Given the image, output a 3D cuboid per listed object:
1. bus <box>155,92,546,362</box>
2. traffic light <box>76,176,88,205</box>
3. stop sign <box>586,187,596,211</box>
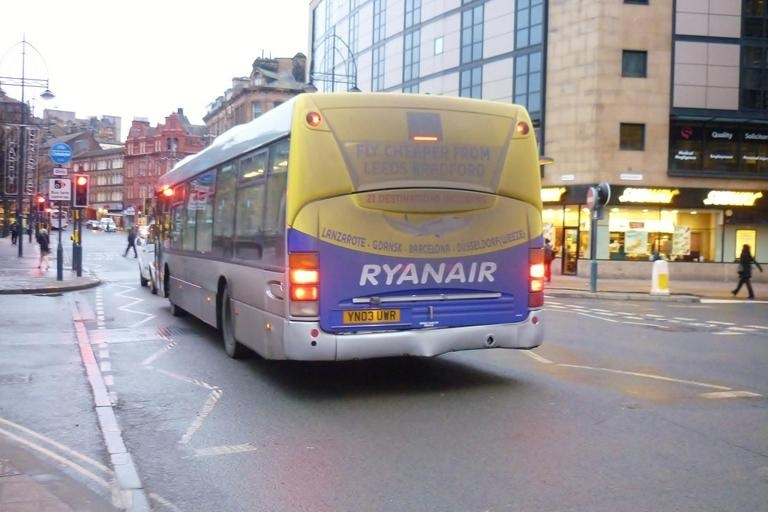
[{"bbox_3d":[-1.131,-0.279,10.228,6.305,4.145,2.887,4,5,40],"label":"bus"},{"bbox_3d":[-11.720,-2.497,25.126,0.445,1.196,0.493,-1,4,-27],"label":"traffic light"},{"bbox_3d":[7.845,-2.130,24.389,0.250,0.787,0.703,1,4,9],"label":"stop sign"}]
